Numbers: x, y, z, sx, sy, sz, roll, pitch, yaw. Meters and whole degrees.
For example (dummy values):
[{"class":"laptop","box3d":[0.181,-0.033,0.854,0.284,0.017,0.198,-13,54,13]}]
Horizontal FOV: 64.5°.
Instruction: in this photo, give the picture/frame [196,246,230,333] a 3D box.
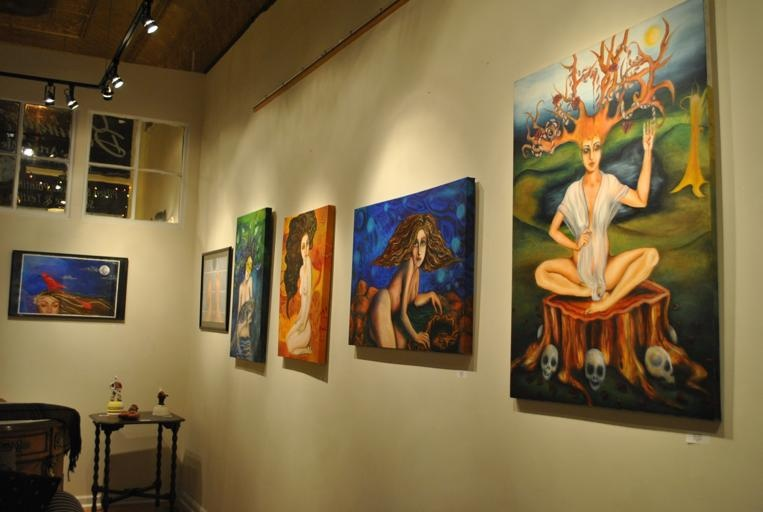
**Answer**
[{"class":"picture/frame","box3d":[-1.807,0.373,6.493,0.052,0.912,0.991,6,-10,-32]}]

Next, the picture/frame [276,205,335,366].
[{"class":"picture/frame","box3d":[-0.581,0.251,4.705,0.113,1.796,1.208,4,-3,-22]}]

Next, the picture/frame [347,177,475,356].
[{"class":"picture/frame","box3d":[0.205,0.081,3.709,0.086,1.120,1.090,4,-4,-36]}]
